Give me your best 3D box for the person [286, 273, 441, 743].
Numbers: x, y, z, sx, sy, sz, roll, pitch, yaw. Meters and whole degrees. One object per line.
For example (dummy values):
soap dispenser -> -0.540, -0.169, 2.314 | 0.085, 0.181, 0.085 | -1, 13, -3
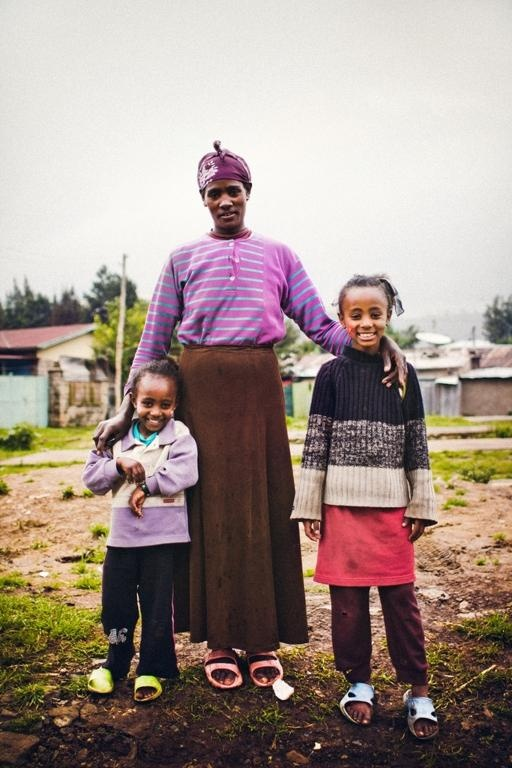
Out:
person -> 0.391, 0.388, 2.615 | 0.549, 1.588, 0.487 | 0, 4, 15

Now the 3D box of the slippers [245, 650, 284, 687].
slippers -> 0.038, 1.113, 2.775 | 0.139, 0.104, 0.136 | 0, 3, 1

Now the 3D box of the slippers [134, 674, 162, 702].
slippers -> -0.390, 1.110, 2.614 | 0.120, 0.083, 0.084 | -2, 3, -22

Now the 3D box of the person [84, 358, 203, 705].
person -> -0.437, 0.532, 2.716 | 0.449, 1.232, 0.369 | -2, 4, -22

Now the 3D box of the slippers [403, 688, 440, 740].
slippers -> 0.574, 1.139, 2.471 | 0.100, 0.095, 0.195 | 0, 3, 7

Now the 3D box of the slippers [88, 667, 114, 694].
slippers -> -0.573, 1.106, 2.643 | 0.084, 0.072, 0.110 | 0, 3, 1

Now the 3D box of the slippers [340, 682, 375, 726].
slippers -> 0.359, 1.125, 2.551 | 0.125, 0.110, 0.177 | 0, 3, 9

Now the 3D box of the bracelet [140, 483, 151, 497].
bracelet -> -0.407, 0.392, 2.646 | 0.046, 0.041, 0.043 | -1, 21, -5
